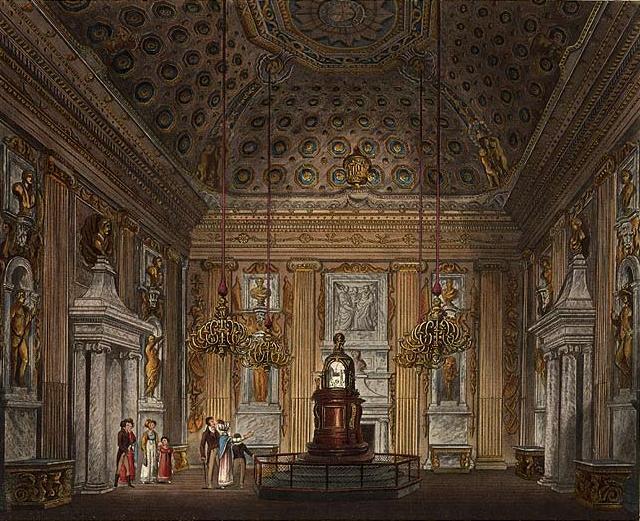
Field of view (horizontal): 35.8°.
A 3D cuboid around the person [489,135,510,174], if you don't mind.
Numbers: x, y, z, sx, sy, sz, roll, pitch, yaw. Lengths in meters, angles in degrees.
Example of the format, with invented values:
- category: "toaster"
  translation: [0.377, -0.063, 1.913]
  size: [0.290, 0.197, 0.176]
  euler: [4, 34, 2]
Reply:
- category: "person"
  translation: [4.302, -2.548, 23.807]
  size: [0.426, 0.173, 1.200]
  euler: [26, -23, 31]

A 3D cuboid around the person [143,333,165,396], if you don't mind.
- category: "person"
  translation: [-3.642, 2.309, 21.885]
  size: [0.283, 1.448, 0.904]
  euler: [-2, -16, 7]

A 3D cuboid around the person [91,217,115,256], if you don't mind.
- category: "person"
  translation: [-4.161, -0.404, 18.981]
  size: [0.234, 0.895, 0.739]
  euler: [-1, -16, 4]
